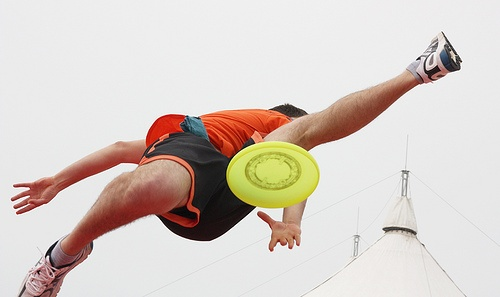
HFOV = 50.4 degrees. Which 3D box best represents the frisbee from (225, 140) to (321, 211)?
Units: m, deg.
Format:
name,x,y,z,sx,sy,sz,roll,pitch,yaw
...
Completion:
name,x,y,z,sx,sy,sz,roll,pitch,yaw
frisbee,0.160,0.168,3.733,0.634,0.287,0.526,13,-40,-3
